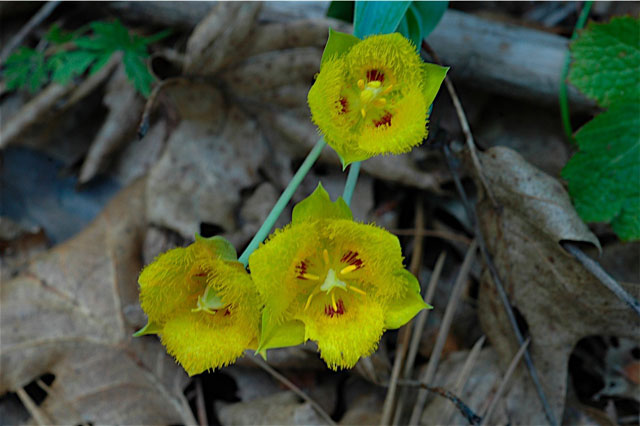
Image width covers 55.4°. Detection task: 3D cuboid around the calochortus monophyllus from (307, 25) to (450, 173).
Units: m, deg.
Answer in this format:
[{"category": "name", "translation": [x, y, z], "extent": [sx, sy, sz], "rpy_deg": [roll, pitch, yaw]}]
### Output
[{"category": "calochortus monophyllus", "translation": [0.168, -0.358, 1.964], "extent": [0.387, 0.144, 0.434], "rpy_deg": [21, 76, 3]}]

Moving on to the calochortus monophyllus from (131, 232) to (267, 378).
[{"category": "calochortus monophyllus", "translation": [-0.352, 0.290, 1.888], "extent": [0.377, 0.172, 0.464], "rpy_deg": [22, 33, -7]}]

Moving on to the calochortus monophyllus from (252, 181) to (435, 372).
[{"category": "calochortus monophyllus", "translation": [0.013, 0.232, 1.902], "extent": [0.538, 0.178, 0.496], "rpy_deg": [-34, 80, -10]}]
